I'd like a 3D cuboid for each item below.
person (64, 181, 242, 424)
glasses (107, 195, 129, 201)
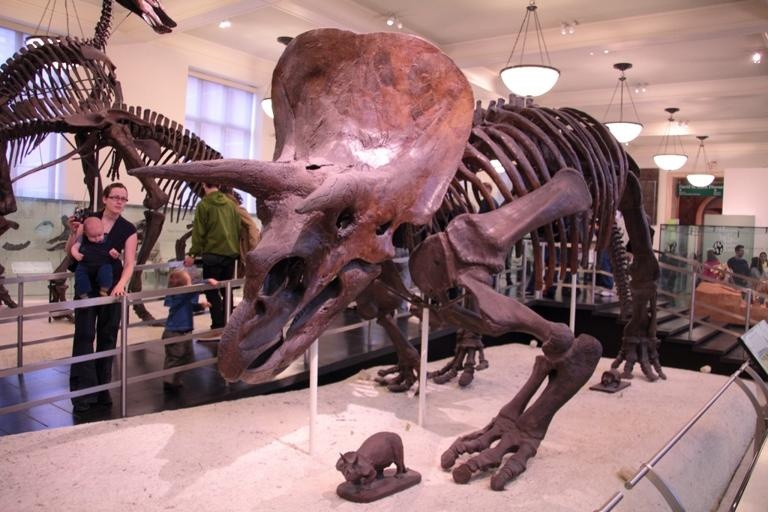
[{"bbox_3d":[-2.554,0.325,5.149,1.009,2.032,1.296,-2,14,-27],"label":"person"},{"bbox_3d":[-2.508,-0.529,4.889,0.152,0.054,0.064,-4,15,-34],"label":"glasses"}]
